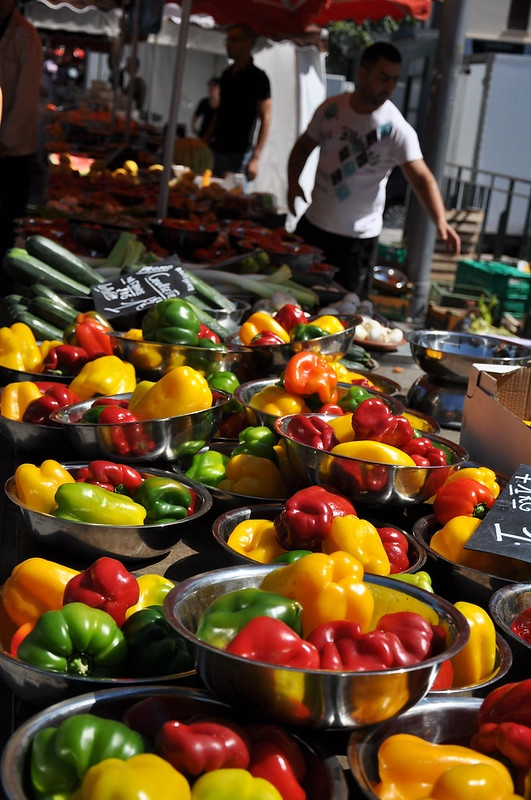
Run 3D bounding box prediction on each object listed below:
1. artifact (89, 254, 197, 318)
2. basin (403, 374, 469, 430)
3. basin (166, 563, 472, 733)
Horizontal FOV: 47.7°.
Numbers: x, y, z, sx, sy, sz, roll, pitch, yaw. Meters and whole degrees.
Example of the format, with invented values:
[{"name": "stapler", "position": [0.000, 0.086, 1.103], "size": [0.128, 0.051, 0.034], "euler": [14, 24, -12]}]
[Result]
[{"name": "artifact", "position": [-0.512, -0.445, 2.629], "size": [0.411, 0.105, 0.237], "euler": [-27, 48, -6]}, {"name": "basin", "position": [0.797, 0.001, 2.786], "size": [0.288, 0.111, 0.272], "euler": [9, 11, -2]}, {"name": "basin", "position": [0.067, 0.357, 0.891], "size": [0.447, 0.143, 0.349], "euler": [9, 10, -5]}]
